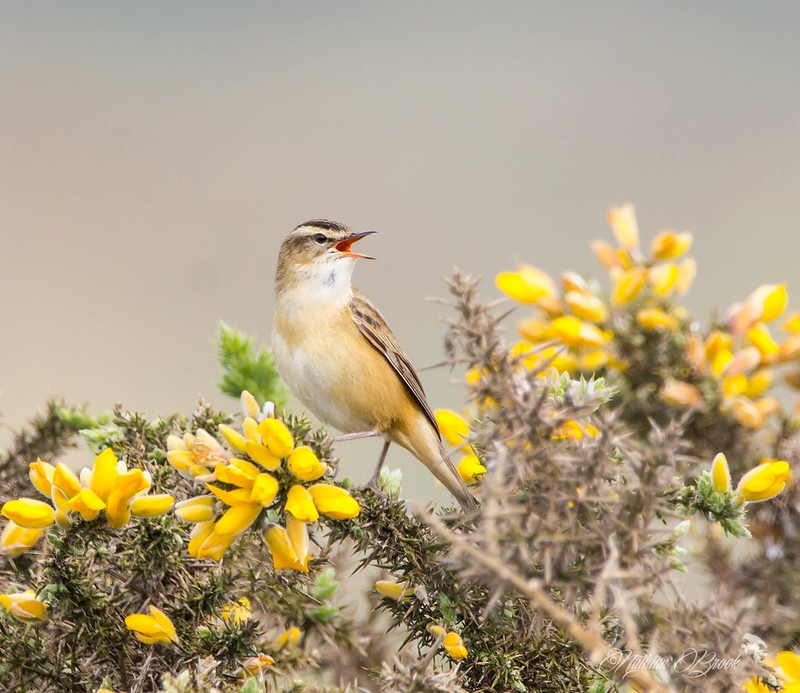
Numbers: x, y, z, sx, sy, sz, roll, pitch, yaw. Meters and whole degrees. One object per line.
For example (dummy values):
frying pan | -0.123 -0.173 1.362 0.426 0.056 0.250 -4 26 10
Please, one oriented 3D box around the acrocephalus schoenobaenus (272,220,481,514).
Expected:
acrocephalus schoenobaenus | -0.042 0.073 2.278 0.487 0.724 0.353 2 -20 3
